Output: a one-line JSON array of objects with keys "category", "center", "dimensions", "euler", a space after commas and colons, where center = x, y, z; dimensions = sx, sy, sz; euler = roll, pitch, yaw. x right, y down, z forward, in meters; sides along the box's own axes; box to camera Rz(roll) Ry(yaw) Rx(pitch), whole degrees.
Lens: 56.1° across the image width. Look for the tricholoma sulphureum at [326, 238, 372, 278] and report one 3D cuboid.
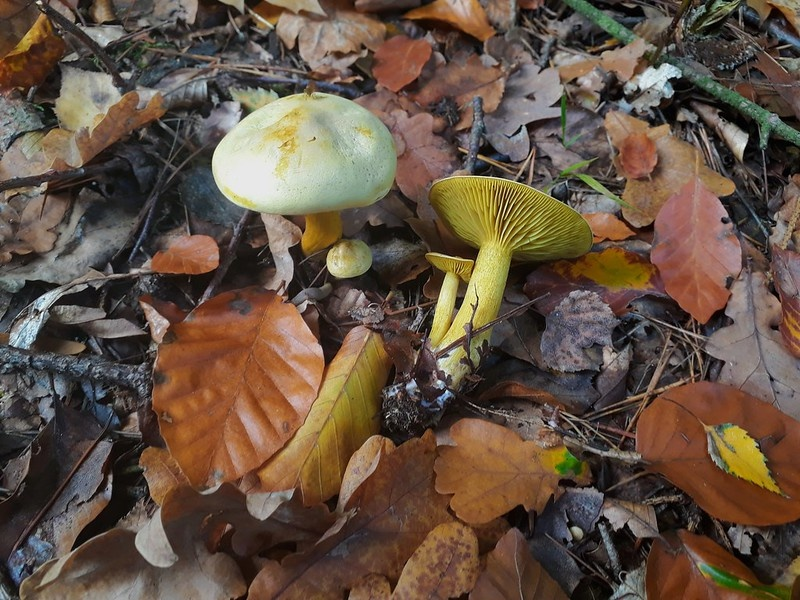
[{"category": "tricholoma sulphureum", "center": [-0.253, -0.247, 3.834], "dimensions": [0.202, 0.120, 0.196], "euler": [-3, 35, -1]}]
